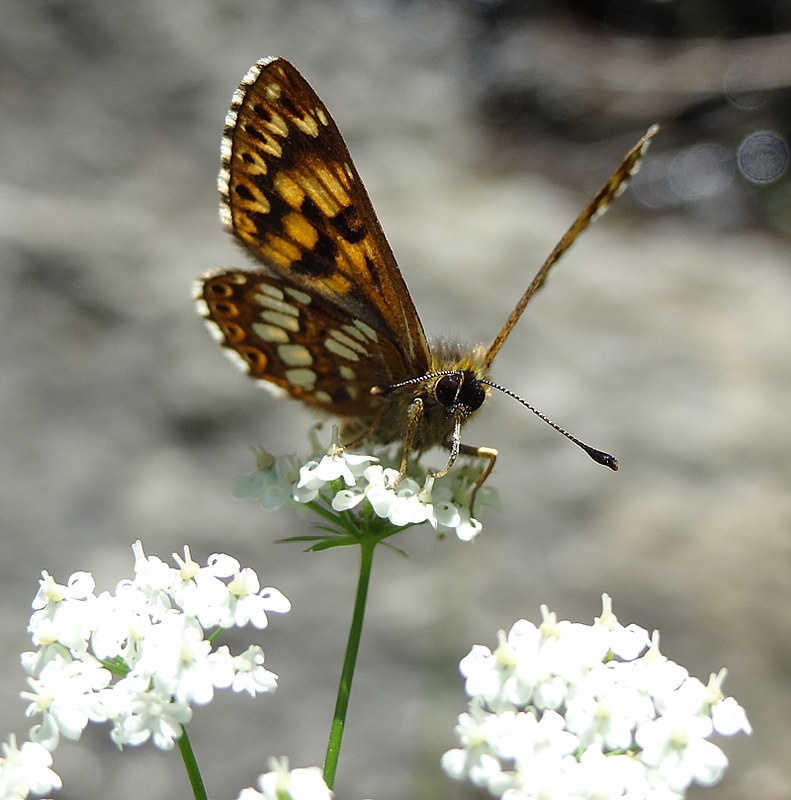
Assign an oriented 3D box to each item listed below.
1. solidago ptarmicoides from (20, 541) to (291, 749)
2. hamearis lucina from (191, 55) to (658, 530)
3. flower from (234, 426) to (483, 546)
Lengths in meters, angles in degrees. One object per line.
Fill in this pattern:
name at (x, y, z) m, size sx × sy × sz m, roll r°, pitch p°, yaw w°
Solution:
solidago ptarmicoides at (-0.629, 0.723, 3.249) m, size 0.748 × 0.365 × 0.667 m, roll -38°, pitch -99°, yaw -8°
hamearis lucina at (-0.172, -0.455, 4.113) m, size 1.736 × 0.658 × 1.532 m, roll 3°, pitch -73°, yaw 0°
flower at (-0.117, 0.308, 3.576) m, size 0.795 × 0.629 × 0.337 m, roll 18°, pitch -77°, yaw -5°
